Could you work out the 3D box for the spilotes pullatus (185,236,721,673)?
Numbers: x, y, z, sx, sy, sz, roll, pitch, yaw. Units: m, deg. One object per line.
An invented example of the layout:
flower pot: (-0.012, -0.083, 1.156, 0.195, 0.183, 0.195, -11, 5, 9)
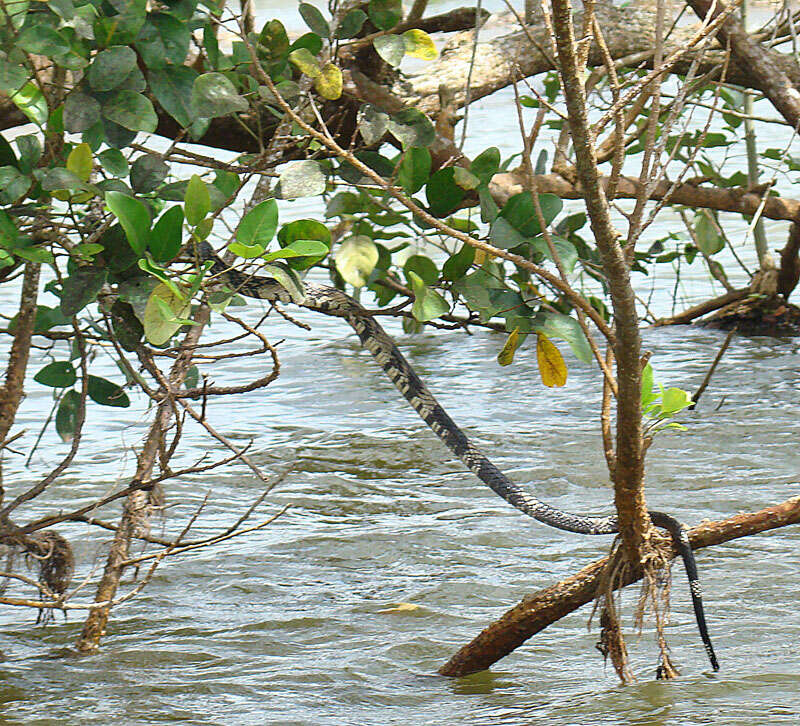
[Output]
spilotes pullatus: (0.186, 0.284, 4.886, 2.119, 1.578, 0.776, 6, -33, -5)
